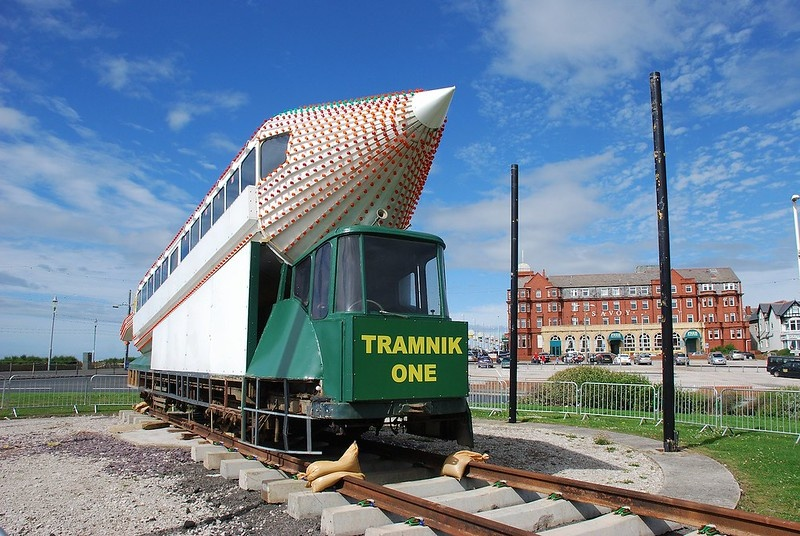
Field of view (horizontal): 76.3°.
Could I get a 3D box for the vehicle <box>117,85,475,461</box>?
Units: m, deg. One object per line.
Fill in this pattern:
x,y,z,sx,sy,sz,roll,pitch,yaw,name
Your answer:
-5.040,0.877,18.548,5.680,8.164,22.183,8,-11,-30,vehicle

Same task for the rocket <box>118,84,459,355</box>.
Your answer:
-3.987,-0.654,14.391,13.996,3.894,3.661,-28,-27,37,rocket
